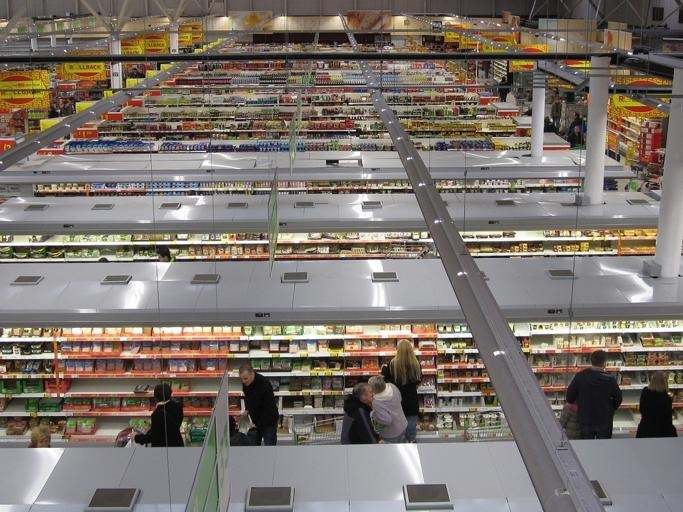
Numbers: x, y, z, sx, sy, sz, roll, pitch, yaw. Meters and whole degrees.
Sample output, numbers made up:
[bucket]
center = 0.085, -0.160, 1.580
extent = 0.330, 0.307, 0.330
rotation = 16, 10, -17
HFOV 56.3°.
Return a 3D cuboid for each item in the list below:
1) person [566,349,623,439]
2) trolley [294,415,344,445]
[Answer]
[person]
center = 2.619, 1.630, 6.684
extent = 0.543, 0.439, 1.305
rotation = 1, -81, 16
[trolley]
center = -0.279, 2.097, 7.604
extent = 0.345, 0.604, 0.214
rotation = 0, -79, 0
